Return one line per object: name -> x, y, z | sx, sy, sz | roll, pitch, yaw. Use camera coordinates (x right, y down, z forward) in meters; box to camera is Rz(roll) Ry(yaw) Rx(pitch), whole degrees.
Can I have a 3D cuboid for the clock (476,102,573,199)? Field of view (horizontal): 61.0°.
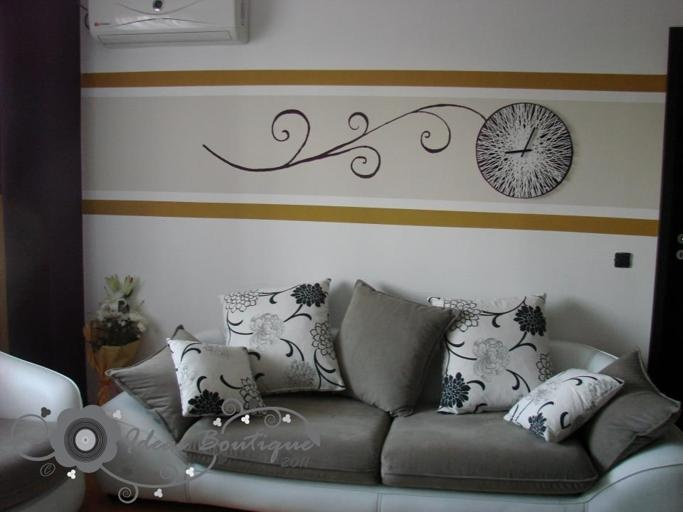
clock -> 1.191, -0.681, 3.679 | 0.507, 0.614, 0.041 | 1, 1, 2
